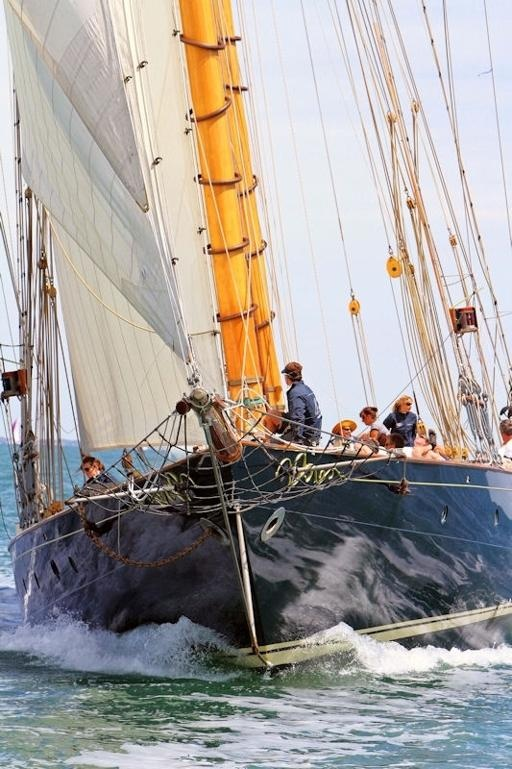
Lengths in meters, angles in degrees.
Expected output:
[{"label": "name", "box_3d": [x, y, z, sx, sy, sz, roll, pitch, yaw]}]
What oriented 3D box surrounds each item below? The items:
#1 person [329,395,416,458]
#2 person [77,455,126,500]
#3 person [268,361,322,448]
[{"label": "person", "box_3d": [1.041, 0.420, 7.136, 0.324, 0.573, 0.966, -9, -19, 30]}, {"label": "person", "box_3d": [-1.299, 0.759, 7.127, 0.357, 0.374, 1.635, 3, -8, -11]}, {"label": "person", "box_3d": [0.295, 0.233, 7.300, 0.578, 0.829, 0.492, 4, 7, 20]}]
